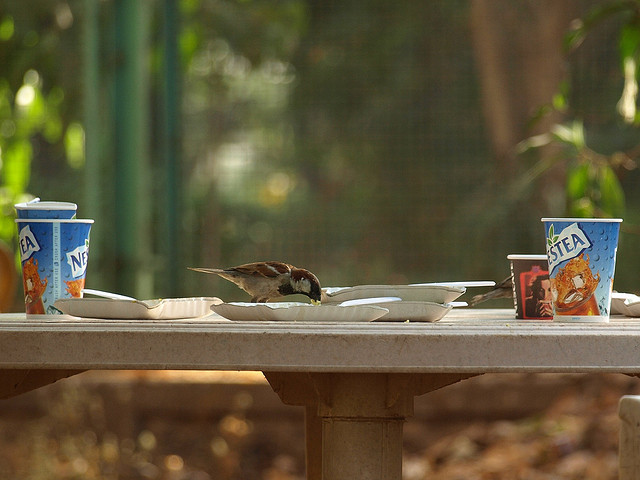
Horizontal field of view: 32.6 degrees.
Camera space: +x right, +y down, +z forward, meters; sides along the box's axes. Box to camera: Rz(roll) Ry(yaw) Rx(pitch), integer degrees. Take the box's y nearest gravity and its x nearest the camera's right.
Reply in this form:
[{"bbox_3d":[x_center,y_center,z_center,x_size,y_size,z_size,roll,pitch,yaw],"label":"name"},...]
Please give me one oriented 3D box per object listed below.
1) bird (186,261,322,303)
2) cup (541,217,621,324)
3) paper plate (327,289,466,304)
[{"bbox_3d":[-0.215,0.140,3.973,0.398,0.215,0.248,4,-1,-38],"label":"bird"},{"bbox_3d":[0.824,0.104,3.591,0.303,0.371,0.298,0,-8,0],"label":"cup"},{"bbox_3d":[0.268,0.178,3.673,0.253,0.059,0.261,1,-2,-42],"label":"paper plate"}]
